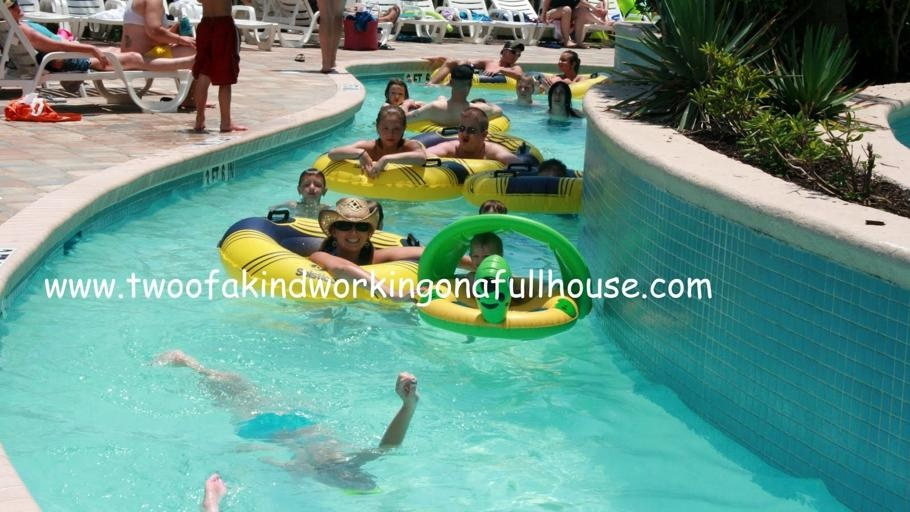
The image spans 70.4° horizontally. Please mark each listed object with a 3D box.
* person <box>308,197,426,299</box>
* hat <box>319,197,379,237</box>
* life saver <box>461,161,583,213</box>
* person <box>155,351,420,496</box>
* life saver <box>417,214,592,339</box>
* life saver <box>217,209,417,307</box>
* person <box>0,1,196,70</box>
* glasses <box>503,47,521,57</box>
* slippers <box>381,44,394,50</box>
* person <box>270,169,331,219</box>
[{"bbox_3d":[-0.893,-0.138,5.560,0.945,0.241,0.984,-11,27,-36],"label":"person"},{"bbox_3d":[-0.933,-0.327,5.600,0.428,0.413,0.153,2,67,-8],"label":"hat"},{"bbox_3d":[0.929,-0.781,8.216,1.818,0.409,1.677,2,5,-11],"label":"life saver"},{"bbox_3d":[-1.134,0.934,4.431,2.184,0.772,0.789,17,7,40],"label":"person"},{"bbox_3d":[0.352,0.264,5.043,1.183,0.430,1.146,7,31,2],"label":"life saver"},{"bbox_3d":[-1.452,0.045,5.741,1.162,0.291,1.128,6,15,-12],"label":"life saver"},{"bbox_3d":[-5.175,-2.966,9.023,2.501,1.059,1.049,-9,30,-28],"label":"person"},{"bbox_3d":[1.227,-4.508,14.148,0.224,0.060,0.199,0,57,-21],"label":"glasses"},{"bbox_3d":[-1.887,-5.688,17.484,0.216,0.143,0.523,6,19,12],"label":"slippers"},{"bbox_3d":[-1.737,-0.684,7.188,0.911,0.510,0.375,5,-6,-13],"label":"person"}]
